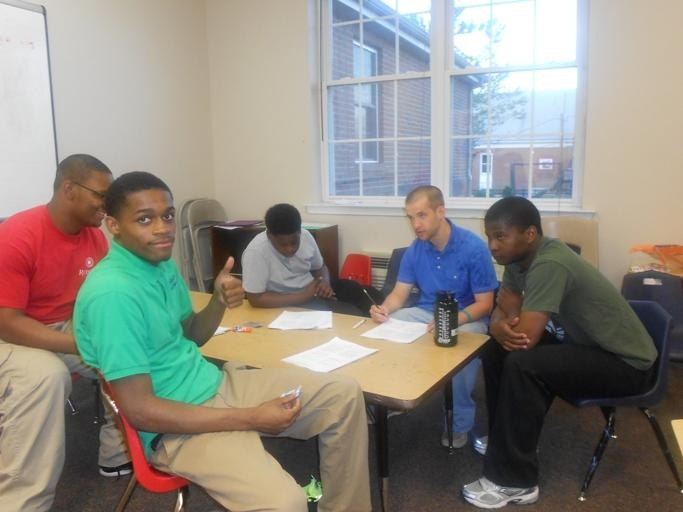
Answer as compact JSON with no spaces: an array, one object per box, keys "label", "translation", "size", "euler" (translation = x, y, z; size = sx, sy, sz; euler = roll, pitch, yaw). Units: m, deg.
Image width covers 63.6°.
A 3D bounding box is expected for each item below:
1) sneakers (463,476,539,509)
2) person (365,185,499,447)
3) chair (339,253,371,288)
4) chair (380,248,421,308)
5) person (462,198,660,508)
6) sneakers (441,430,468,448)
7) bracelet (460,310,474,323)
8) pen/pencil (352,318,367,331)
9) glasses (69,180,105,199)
[{"label":"sneakers","translation":[0.769,1.193,2.768],"size":[0.381,0.199,0.151],"euler":[2,4,2]},{"label":"person","translation":[0.537,0.346,3.410],"size":[0.761,1.457,0.835],"euler":[0,14,26]},{"label":"chair","translation":[0.121,0.125,4.992],"size":[0.284,0.389,0.208],"euler":[5,37,-11]},{"label":"chair","translation":[0.391,0.151,4.023],"size":[0.301,0.478,0.374],"euler":[4,8,32]},{"label":"person","translation":[1.037,0.450,2.862],"size":[0.974,1.493,0.529],"euler":[-5,13,-8]},{"label":"sneakers","translation":[0.662,1.066,3.220],"size":[0.130,0.096,0.078],"euler":[-11,-1,42]},{"label":"bracelet","translation":[0.721,0.361,3.181],"size":[0.043,0.065,0.060],"euler":[5,0,-15]},{"label":"pen/pencil","translation":[0.101,0.377,2.999],"size":[0.024,0.019,0.153],"euler":[11,10,25]},{"label":"glasses","translation":[-1.330,-0.345,2.898],"size":[0.127,0.041,0.131],"euler":[33,5,11]}]
